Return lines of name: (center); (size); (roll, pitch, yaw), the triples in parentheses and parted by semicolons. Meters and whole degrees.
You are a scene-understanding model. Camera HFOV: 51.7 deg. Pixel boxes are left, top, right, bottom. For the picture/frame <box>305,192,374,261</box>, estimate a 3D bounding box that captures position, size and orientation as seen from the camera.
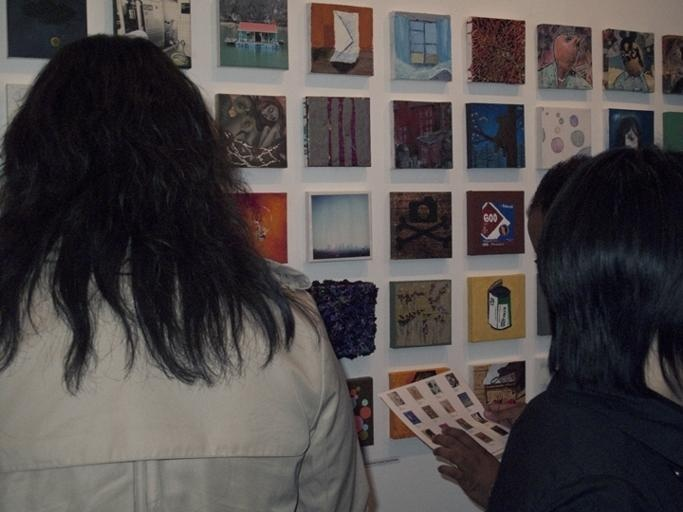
picture/frame: (0.001, -0.104, 2.498); (0.227, 0.252, 0.024); (-1, 5, 10)
